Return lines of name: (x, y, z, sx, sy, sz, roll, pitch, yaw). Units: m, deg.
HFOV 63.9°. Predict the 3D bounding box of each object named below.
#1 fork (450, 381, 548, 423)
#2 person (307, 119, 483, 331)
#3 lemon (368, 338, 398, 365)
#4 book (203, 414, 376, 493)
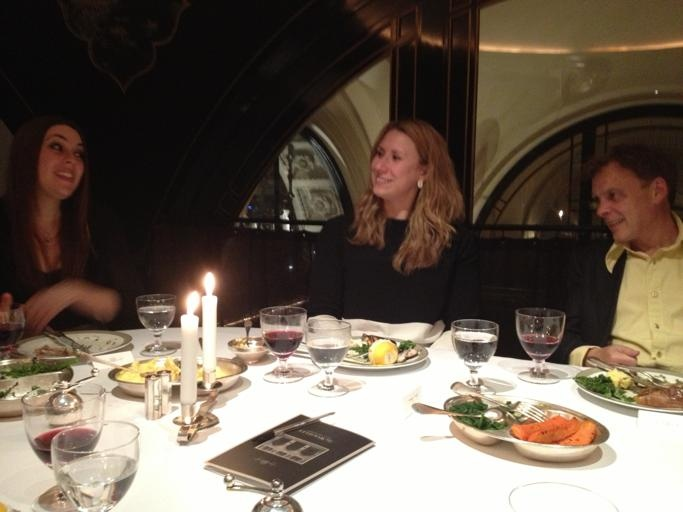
fork: (0.444, 0.419, 1.561, 0.242, 0.028, 0.033, 10, 40, 38)
person: (0.290, -0.182, 2.804, 0.858, 0.996, 0.672, 4, 15, 13)
lemon: (0.144, 0.321, 1.853, 0.079, 0.080, 0.029, 4, -1, -3)
book: (-0.121, 0.491, 1.377, 0.370, 0.047, 0.212, -11, 18, -40)
